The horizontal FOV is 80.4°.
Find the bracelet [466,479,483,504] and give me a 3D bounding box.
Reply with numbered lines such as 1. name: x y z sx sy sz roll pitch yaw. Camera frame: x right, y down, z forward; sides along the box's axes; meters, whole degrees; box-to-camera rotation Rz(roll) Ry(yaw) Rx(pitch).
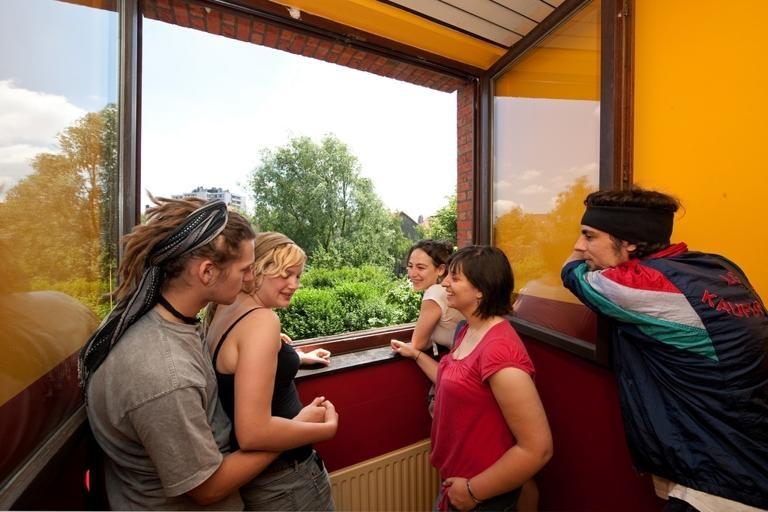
1. bracelet: 0.388 1.032 1.976 0.060 0.105 0.035 1 8 9

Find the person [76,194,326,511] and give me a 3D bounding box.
1. person: -0.831 0.164 2.163 1.026 1.538 0.887 -7 27 -37

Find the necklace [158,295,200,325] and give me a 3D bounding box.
1. necklace: -0.762 0.205 1.694 0.035 0.123 0.109 -44 8 11

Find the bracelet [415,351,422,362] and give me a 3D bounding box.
1. bracelet: 0.191 0.566 2.531 0.035 0.033 0.035 -1 10 -4
